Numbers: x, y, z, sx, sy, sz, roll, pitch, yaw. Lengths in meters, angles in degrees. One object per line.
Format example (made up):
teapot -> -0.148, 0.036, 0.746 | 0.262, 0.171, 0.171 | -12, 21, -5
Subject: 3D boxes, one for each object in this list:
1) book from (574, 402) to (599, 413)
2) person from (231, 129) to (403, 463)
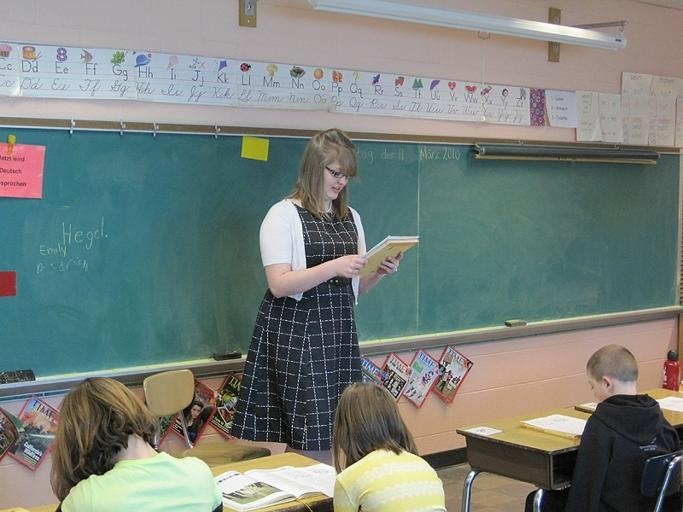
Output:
book -> 1.261, 0.767, 2.986 | 0.116, 0.028, 0.113 | -1, 1, -31
person -> -0.164, 0.188, 2.583 | 0.653, 1.491, 0.440 | -2, 5, -12
